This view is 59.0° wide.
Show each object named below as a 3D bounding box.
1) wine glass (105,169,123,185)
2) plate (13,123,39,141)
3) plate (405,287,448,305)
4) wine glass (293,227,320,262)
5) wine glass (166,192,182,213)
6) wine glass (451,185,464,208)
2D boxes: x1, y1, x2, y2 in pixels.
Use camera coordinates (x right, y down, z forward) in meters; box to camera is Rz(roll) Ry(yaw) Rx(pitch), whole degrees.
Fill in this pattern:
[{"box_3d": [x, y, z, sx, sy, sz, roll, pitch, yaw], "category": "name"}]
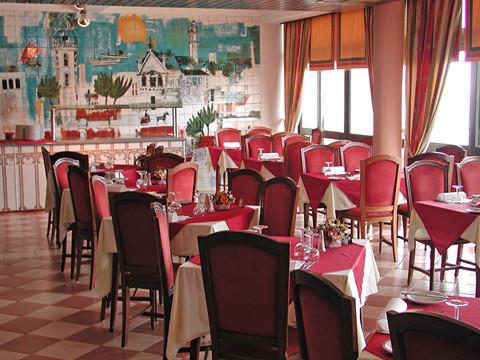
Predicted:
[{"box_3d": [-1.661, -0.040, 5.685, 0.205, 0.119, 0.326, 1, -1, 3], "category": "wine glass"}, {"box_3d": [-4.468, -0.994, 8.894, 0.536, 0.375, 0.324, 1, 0, 37], "category": "plate"}, {"box_3d": [1.082, 0.663, 2.497, 0.267, 0.069, 0.149, 0, 11, 5], "category": "plate"}, {"box_3d": [0.498, 0.504, 3.232, 0.155, 0.253, 0.253, 1, -7, 3], "category": "wine glass"}, {"box_3d": [-0.694, 0.226, 4.404, 0.187, 0.292, 0.177, 0, -1, 1], "category": "wine glass"}, {"box_3d": [2.386, 0.135, 4.597, 0.136, 0.176, 0.331, 5, 12, 28], "category": "wine glass"}]
